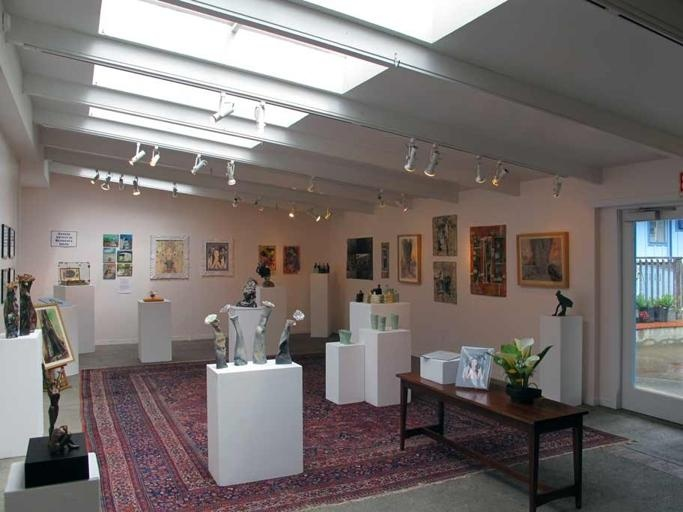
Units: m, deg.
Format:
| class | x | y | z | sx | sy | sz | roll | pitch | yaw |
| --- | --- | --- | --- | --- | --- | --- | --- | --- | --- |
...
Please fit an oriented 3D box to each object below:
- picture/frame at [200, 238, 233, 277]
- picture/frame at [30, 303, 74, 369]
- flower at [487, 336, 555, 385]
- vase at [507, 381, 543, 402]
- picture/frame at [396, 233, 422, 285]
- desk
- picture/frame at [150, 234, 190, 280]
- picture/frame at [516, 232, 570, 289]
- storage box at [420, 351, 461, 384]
| class | x | y | z | sx | sy | sz | roll | pitch | yaw |
| --- | --- | --- | --- | --- | --- | --- | --- | --- | --- |
| picture/frame | -3.896 | 0.039 | 15.003 | 1.127 | 1.351 | 0.077 | 2 | -5 | -36 |
| picture/frame | -5.435 | 1.511 | 9.199 | 0.609 | 1.173 | 0.900 | 0 | -2 | -5 |
| flower | 2.047 | 1.216 | 5.595 | 0.529 | 0.564 | 0.575 | 6 | 8 | 22 |
| vase | 2.072 | 1.561 | 5.574 | 0.301 | 0.154 | 0.257 | 3 | -1 | -13 |
| picture/frame | 1.754 | 0.072 | 12.565 | 0.151 | 1.511 | 1.232 | 4 | -5 | -23 |
| desk | 1.796 | 2.183 | 6.392 | 1.605 | 1.187 | 2.859 | 1 | -2 | -33 |
| picture/frame | -5.136 | 0.007 | 14.398 | 1.303 | 1.539 | 0.068 | 1 | -4 | -34 |
| picture/frame | 3.774 | 0.088 | 9.061 | 0.105 | 0.951 | 1.050 | 2 | -1 | -26 |
| storage box | 1.306 | 1.420 | 6.325 | 0.372 | 0.262 | 0.373 | 1 | 0 | -36 |
